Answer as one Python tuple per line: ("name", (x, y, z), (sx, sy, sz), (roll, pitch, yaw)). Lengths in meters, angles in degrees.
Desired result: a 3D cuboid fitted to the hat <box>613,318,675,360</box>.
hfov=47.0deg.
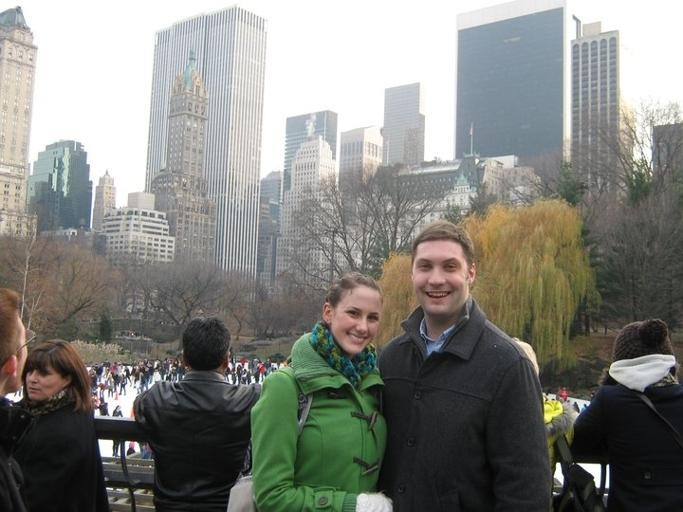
("hat", (2.026, 0.536, 5.225), (0.248, 0.289, 0.366), (9, -33, 9))
